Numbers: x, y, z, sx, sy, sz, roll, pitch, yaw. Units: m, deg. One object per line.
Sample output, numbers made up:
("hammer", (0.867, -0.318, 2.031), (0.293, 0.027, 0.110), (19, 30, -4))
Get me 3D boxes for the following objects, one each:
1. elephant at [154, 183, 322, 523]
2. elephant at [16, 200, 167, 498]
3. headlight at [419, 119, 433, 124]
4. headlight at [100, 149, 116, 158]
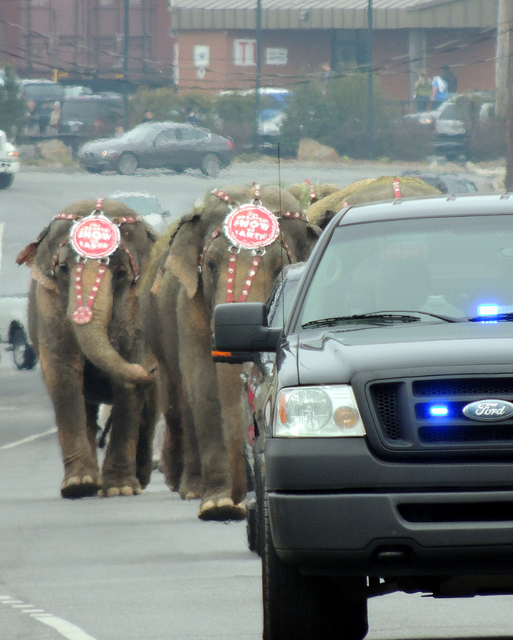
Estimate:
("elephant", (-0.155, 0.249, 11.212), (0.987, 2.142, 3.417), (1, 0, -6))
("elephant", (-1.224, 0.268, 11.982), (1.030, 2.053, 1.920), (-3, 15, -6))
("headlight", (5.372, -6.225, 51.787), (0.400, 0.150, 0.128), (0, 15, 8))
("headlight", (-3.877, -4.181, 41.510), (0.414, 0.204, 0.108), (-9, 16, -24))
